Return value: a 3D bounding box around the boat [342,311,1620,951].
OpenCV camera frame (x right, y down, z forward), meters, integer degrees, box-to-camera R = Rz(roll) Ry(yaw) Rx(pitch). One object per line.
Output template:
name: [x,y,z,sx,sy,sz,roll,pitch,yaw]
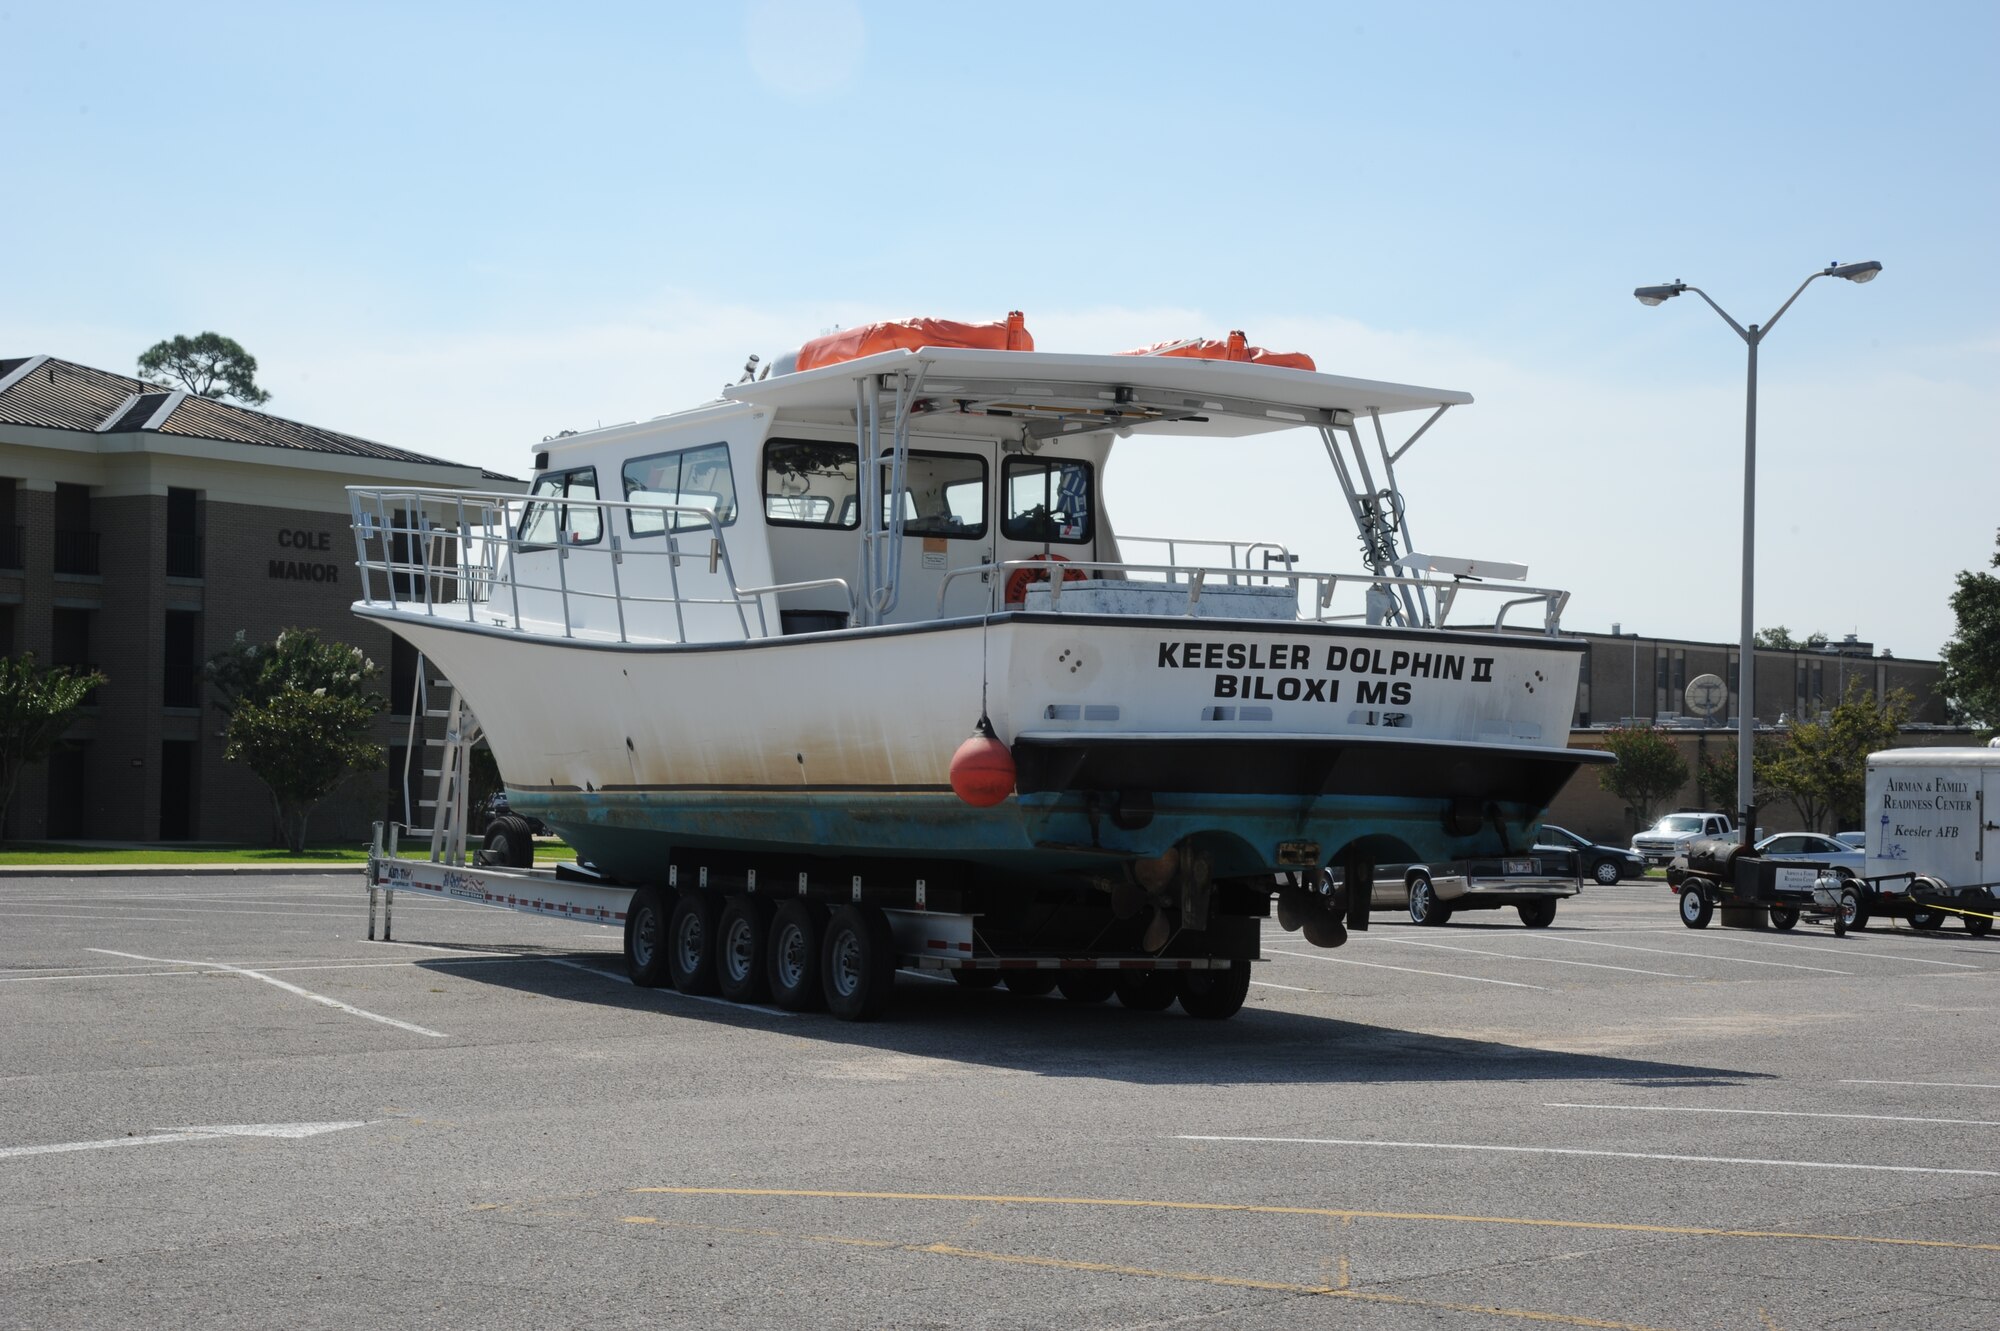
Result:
boat: [-1.683,-0.330,20.484,4.938,3.939,12.977,6,-2,-34]
